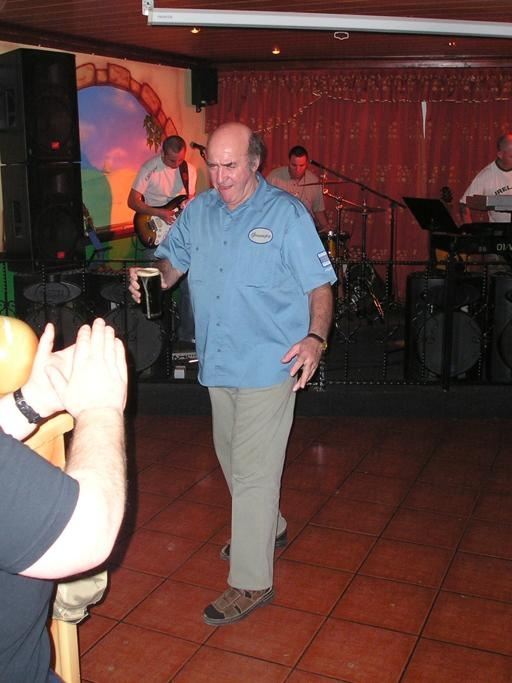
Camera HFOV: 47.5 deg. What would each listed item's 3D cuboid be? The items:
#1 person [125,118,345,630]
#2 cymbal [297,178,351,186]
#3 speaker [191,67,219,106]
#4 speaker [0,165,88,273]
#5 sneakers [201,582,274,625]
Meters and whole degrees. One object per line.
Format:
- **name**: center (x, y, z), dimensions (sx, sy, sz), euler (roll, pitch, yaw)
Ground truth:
- **person**: center (-0.053, 0.108, 2.163), dimensions (0.674, 1.772, 0.558), euler (1, 13, 6)
- **cymbal**: center (0.820, -1.940, 7.119), dimensions (0.326, 0.080, 0.441), euler (9, 19, 33)
- **speaker**: center (-0.694, -3.383, 7.719), dimensions (0.164, 0.435, 0.490), euler (8, 17, 27)
- **speaker**: center (-1.759, -1.076, 4.802), dimensions (0.629, 0.799, 0.396), euler (-4, 13, -16)
- **sneakers**: center (-0.063, 0.963, 2.202), dimensions (0.275, 0.102, 0.105), euler (-8, 13, -35)
